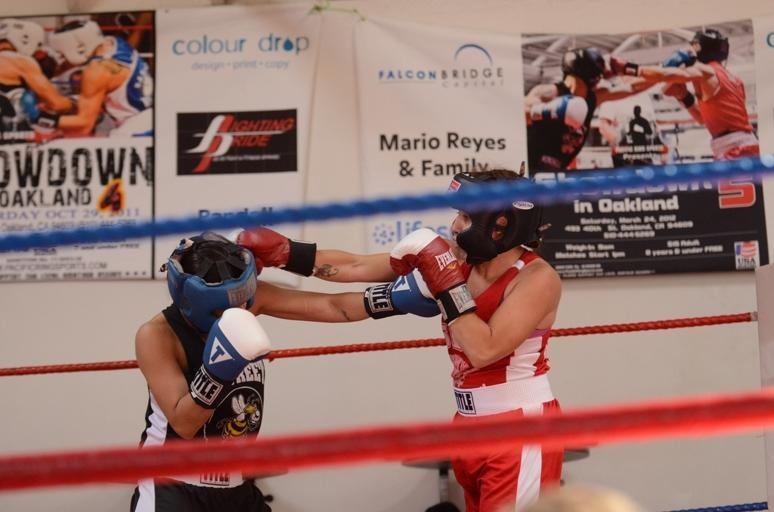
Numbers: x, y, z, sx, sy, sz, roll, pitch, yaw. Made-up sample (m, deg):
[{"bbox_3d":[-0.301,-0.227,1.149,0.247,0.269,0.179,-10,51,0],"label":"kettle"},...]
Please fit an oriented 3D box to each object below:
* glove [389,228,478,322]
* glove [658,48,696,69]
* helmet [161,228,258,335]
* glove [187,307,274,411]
[{"bbox_3d":[0.238,0.078,3.736,0.327,0.479,0.186,-32,-14,-44],"label":"glove"},{"bbox_3d":[1.960,-1.324,5.243,0.192,0.119,0.083,-20,-21,-2],"label":"glove"},{"bbox_3d":[-0.780,0.092,3.669,0.376,0.441,0.461,-31,63,-30],"label":"helmet"},{"bbox_3d":[-0.716,0.459,3.476,0.273,0.488,0.298,29,12,-38],"label":"glove"}]
